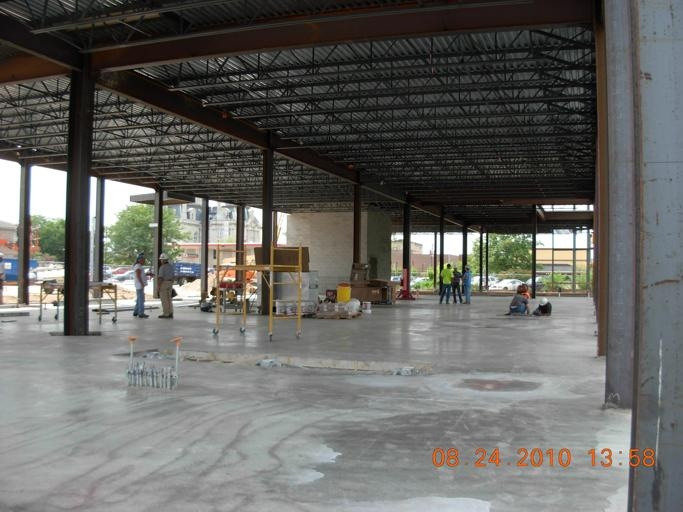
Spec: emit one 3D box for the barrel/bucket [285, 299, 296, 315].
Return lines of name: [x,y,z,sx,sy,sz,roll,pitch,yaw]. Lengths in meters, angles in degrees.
barrel/bucket: [-1.540,1.566,17.187,0.313,0.350,0.835,1,-2,-2]

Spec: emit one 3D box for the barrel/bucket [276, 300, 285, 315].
barrel/bucket: [-1.847,1.518,16.925,0.279,0.361,0.590,1,-2,-4]

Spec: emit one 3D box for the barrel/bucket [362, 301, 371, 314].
barrel/bucket: [1.004,2.003,22.035,0.584,0.431,0.379,2,5,15]
